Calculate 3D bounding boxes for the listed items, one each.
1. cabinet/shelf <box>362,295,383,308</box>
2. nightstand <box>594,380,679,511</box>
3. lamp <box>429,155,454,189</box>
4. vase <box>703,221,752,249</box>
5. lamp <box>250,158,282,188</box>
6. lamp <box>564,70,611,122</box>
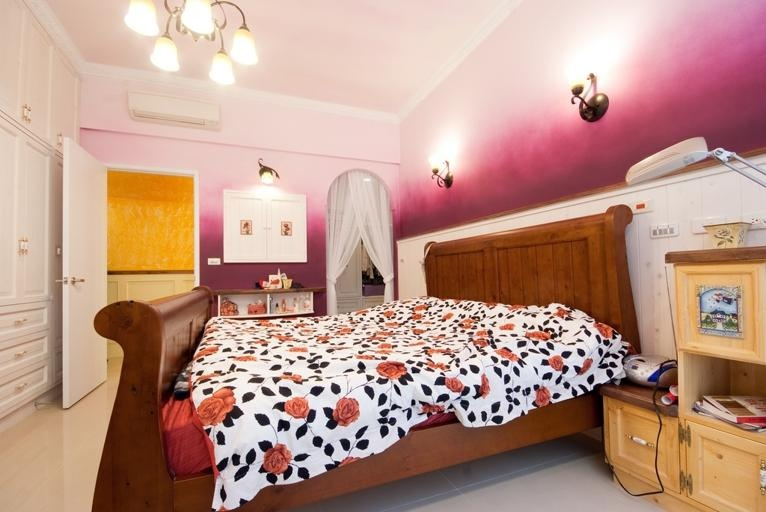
[{"bbox_3d":[-0.152,0.736,7.312,0.300,0.295,0.172,2,-7,-19],"label":"cabinet/shelf"},{"bbox_3d":[1.656,1.232,3.221,0.556,0.864,0.597,4,-7,-30],"label":"nightstand"},{"bbox_3d":[0.619,-0.877,5.004,0.159,0.290,0.294,-1,-1,-22],"label":"lamp"},{"bbox_3d":[2.124,-0.082,2.858,0.180,0.140,0.202,11,-10,-36],"label":"vase"},{"bbox_3d":[-1.363,-0.998,5.517,0.261,0.234,0.169,-1,-1,-14],"label":"lamp"},{"bbox_3d":[1.604,-1.205,3.602,0.263,0.394,0.178,-2,-1,18],"label":"lamp"}]
